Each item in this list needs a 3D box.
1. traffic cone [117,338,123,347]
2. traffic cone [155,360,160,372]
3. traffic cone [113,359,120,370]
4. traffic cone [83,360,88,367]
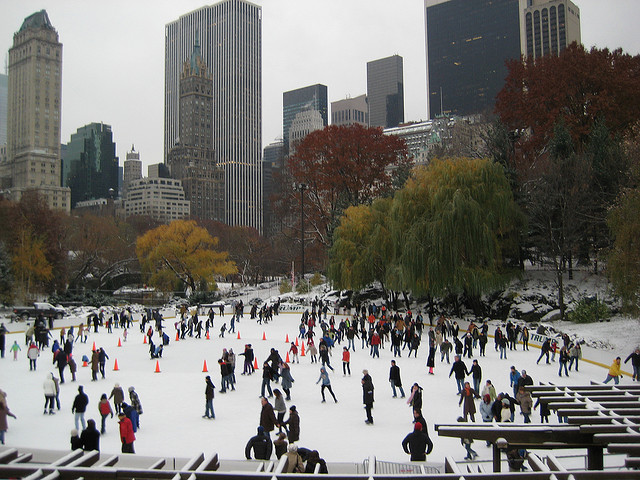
[{"bbox_3d":[-14.945,7.771,61.088,0.428,0.749,0.492,3,-3,-12],"label":"traffic cone"},{"bbox_3d":[-10.633,8.475,53.855,0.464,0.866,0.488,2,0,-13],"label":"traffic cone"},{"bbox_3d":[-13.392,8.391,53.956,0.556,0.824,0.650,2,11,-9],"label":"traffic cone"},{"bbox_3d":[-15.703,8.386,54.887,0.319,0.480,0.384,-1,6,-3],"label":"traffic cone"}]
